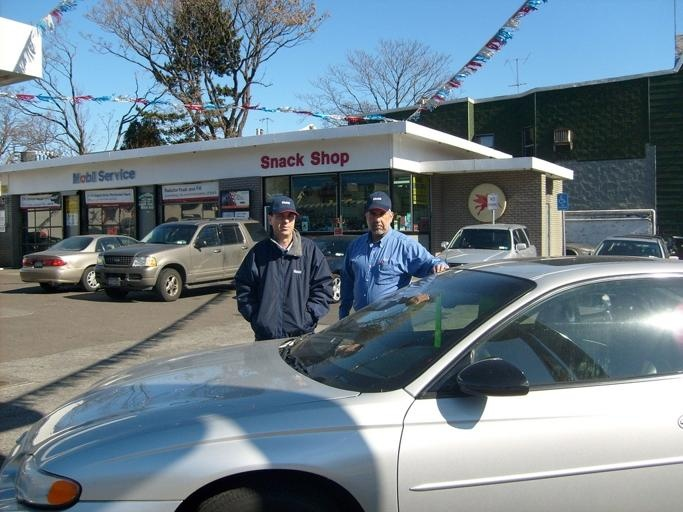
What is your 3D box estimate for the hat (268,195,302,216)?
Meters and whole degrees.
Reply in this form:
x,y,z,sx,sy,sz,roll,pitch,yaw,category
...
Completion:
x,y,z,sx,sy,sz,roll,pitch,yaw,category
-0.491,-0.398,5.373,0.217,0.145,0.294,1,0,-20,hat
